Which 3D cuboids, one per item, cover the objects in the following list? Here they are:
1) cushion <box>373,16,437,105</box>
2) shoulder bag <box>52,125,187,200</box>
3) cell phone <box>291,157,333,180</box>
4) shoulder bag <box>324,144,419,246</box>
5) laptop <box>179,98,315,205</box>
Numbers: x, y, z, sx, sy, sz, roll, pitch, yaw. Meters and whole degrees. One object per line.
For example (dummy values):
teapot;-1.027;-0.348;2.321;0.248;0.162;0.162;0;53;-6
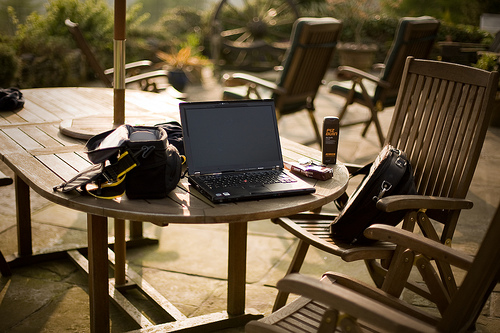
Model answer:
cushion;1.598;-1.073;4.207;0.621;0.852;0.243;-16;29;-35
shoulder bag;-0.517;0.003;1.694;0.459;0.245;0.443;4;7;28
cell phone;0.278;0.016;1.933;0.231;0.051;0.134;17;16;41
shoulder bag;0.611;0.149;1.988;0.455;0.452;0.387;-19;30;-40
laptop;-0.024;-0.086;1.755;0.495;0.326;0.421;-6;24;-18
